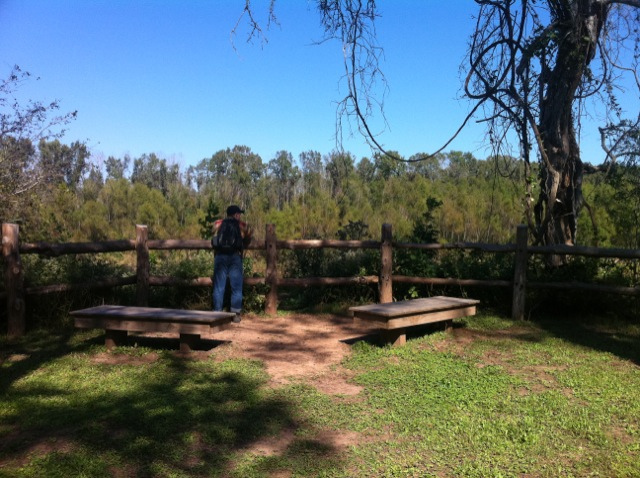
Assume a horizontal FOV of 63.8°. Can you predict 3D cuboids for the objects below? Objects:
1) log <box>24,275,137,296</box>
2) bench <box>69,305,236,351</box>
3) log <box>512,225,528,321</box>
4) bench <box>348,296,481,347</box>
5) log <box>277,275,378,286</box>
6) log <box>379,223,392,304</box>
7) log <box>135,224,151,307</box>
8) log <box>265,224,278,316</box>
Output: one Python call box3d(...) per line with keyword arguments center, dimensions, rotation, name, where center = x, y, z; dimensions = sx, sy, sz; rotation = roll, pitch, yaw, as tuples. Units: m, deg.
box3d(center=(-4.193, 0.776, 8.774), dimensions=(1.668, 0.291, 0.260), rotation=(-5, 2, -20), name="log")
box3d(center=(-2.422, 1.302, 7.496), dimensions=(2.221, 0.580, 0.490), rotation=(2, 11, 7), name="bench")
box3d(center=(3.408, 0.578, 8.760), dimensions=(0.214, 1.636, 0.380), rotation=(4, 12, 22), name="log")
box3d(center=(1.391, 1.232, 7.924), dimensions=(1.980, 0.643, 0.672), rotation=(-7, 14, -31), name="bench")
box3d(center=(0.142, 0.794, 9.719), dimensions=(1.934, 0.192, 0.234), rotation=(-2, 12, -9), name="log")
box3d(center=(1.203, 0.440, 9.810), dimensions=(0.251, 1.539, 0.216), rotation=(5, 8, 44), name="log")
box3d(center=(-3.172, 0.489, 9.107), dimensions=(0.228, 1.674, 0.272), rotation=(-11, 30, -35), name="log")
box3d(center=(-0.934, 0.564, 9.516), dimensions=(0.232, 1.697, 0.289), rotation=(1, 11, 4), name="log")
